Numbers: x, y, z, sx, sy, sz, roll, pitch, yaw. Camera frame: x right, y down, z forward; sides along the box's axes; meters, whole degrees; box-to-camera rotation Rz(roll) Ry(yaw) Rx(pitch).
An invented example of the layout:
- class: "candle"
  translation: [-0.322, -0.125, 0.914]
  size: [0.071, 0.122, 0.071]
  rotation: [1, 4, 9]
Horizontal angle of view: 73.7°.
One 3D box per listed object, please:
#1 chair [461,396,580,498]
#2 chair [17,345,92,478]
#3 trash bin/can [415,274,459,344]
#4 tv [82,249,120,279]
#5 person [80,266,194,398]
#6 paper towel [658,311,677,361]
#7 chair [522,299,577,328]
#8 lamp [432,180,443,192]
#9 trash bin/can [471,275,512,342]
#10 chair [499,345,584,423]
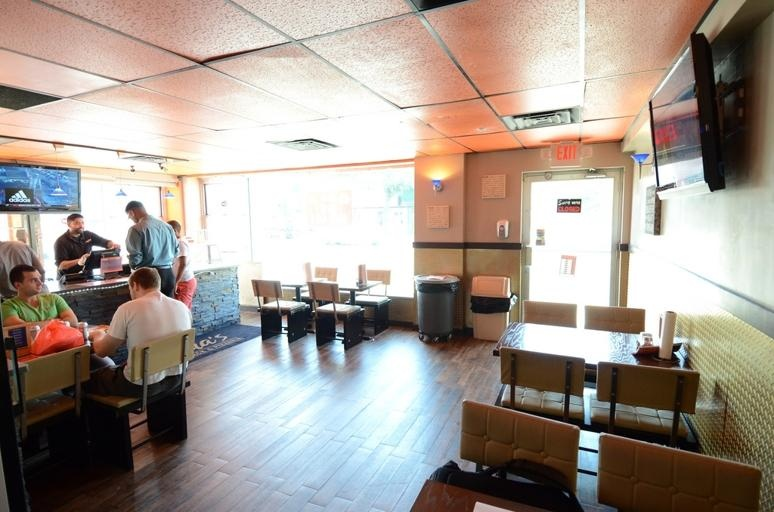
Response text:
- class: "chair"
  translation: [1.060, 1.471, 3.743]
  size: [0.484, 0.442, 0.705]
  rotation: [42, -26, -24]
- class: "chair"
  translation: [-2.889, 1.341, 4.502]
  size: [0.551, 1.112, 0.924]
  rotation: [-5, 5, -34]
- class: "trash bin/can"
  translation: [0.768, 0.806, 7.820]
  size: [0.821, 0.877, 0.700]
  rotation: [0, -6, 16]
- class: "tv"
  translation: [-3.690, 0.078, 6.564]
  size: [0.092, 0.344, 0.396]
  rotation: [20, 10, 38]
- class: "person"
  translation: [-2.298, 0.691, 4.954]
  size: [0.965, 1.087, 0.852]
  rotation: [-3, -1, -45]
- class: "paper towel"
  translation: [2.352, 0.670, 4.428]
  size: [0.155, 0.406, 0.156]
  rotation: [6, -9, 45]
- class: "chair"
  translation: [1.779, 0.624, 5.651]
  size: [0.549, 0.265, 0.360]
  rotation: [5, 6, 22]
- class: "lamp"
  translation: [0.775, -1.077, 7.982]
  size: [0.209, 0.212, 0.160]
  rotation: [5, 7, 39]
- class: "trash bin/can"
  translation: [1.545, 0.774, 7.560]
  size: [0.630, 0.967, 0.391]
  rotation: [-1, 5, 16]
- class: "chair"
  translation: [1.377, 0.968, 4.654]
  size: [0.834, 0.661, 0.666]
  rotation: [1, 8, 23]
